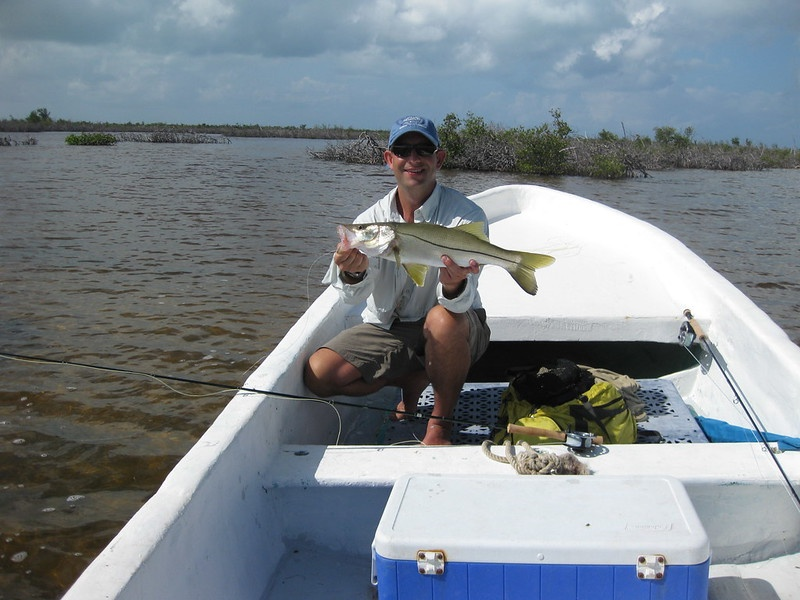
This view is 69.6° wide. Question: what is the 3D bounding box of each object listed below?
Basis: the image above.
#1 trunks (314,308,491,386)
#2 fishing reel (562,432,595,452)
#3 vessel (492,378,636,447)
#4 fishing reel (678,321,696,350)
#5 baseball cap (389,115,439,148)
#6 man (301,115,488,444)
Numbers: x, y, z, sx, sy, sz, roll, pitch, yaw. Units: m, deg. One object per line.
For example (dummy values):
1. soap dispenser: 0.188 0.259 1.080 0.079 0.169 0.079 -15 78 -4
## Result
1. trunks: 0.062 0.262 3.394 0.836 0.272 0.435 -2 -10 -14
2. fishing reel: 0.791 0.615 2.545 0.109 0.045 0.082 -5 8 -39
3. vessel: 0.864 0.596 2.950 0.479 0.158 0.426 0 6 8
4. fishing reel: 1.758 0.218 3.560 0.064 0.156 0.117 3 1 -5
5. baseball cap: 0.068 -0.927 3.204 0.295 0.183 0.456 -2 19 1
6. man: 0.043 -0.117 3.314 1.175 1.765 1.058 -3 4 -23
